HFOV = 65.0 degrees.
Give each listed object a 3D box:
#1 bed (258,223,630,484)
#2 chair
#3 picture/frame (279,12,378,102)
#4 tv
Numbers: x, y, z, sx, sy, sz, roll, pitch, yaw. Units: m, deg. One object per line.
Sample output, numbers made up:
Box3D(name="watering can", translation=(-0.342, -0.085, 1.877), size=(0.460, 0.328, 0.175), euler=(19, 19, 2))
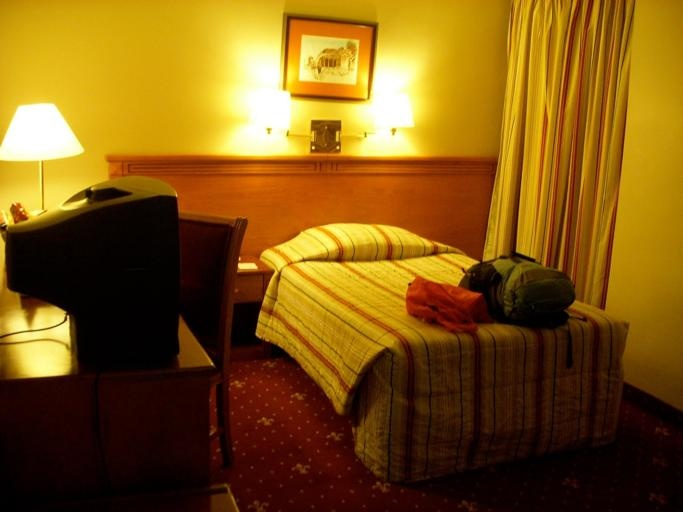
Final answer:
Box3D(name="bed", translation=(0.365, 0.351, 3.592), size=(1.758, 1.000, 2.215), euler=(-4, 11, -26))
Box3D(name="chair", translation=(-0.631, 0.395, 2.506), size=(0.348, 1.150, 0.263), euler=(7, 16, 29))
Box3D(name="picture/frame", translation=(-0.129, -1.500, 3.971), size=(0.661, 0.540, 0.049), euler=(1, 12, -16))
Box3D(name="tv", translation=(-0.710, 0.004, 1.755), size=(0.541, 0.588, 0.439), euler=(-1, 15, -24))
